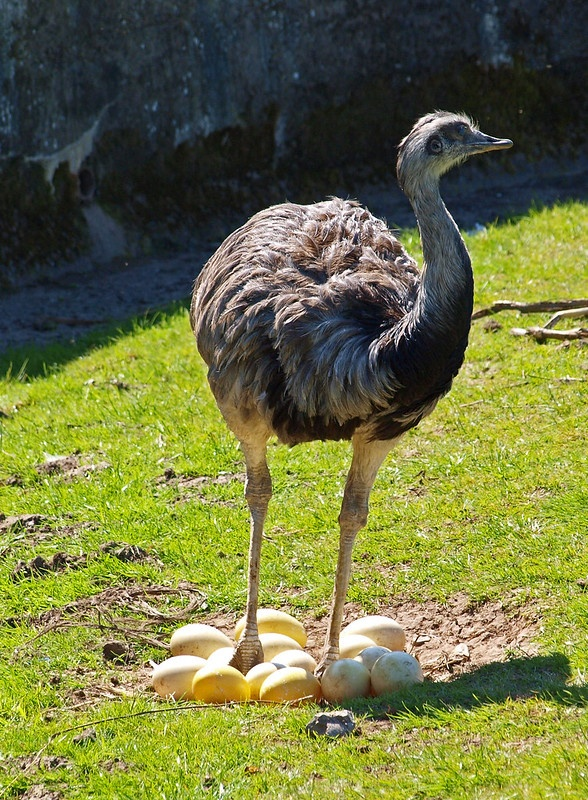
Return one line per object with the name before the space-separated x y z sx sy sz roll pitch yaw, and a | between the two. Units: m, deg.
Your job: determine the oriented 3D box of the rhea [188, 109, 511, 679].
rhea | 0.123 0.000 4.526 0.660 2.177 1.225 -5 14 -37
